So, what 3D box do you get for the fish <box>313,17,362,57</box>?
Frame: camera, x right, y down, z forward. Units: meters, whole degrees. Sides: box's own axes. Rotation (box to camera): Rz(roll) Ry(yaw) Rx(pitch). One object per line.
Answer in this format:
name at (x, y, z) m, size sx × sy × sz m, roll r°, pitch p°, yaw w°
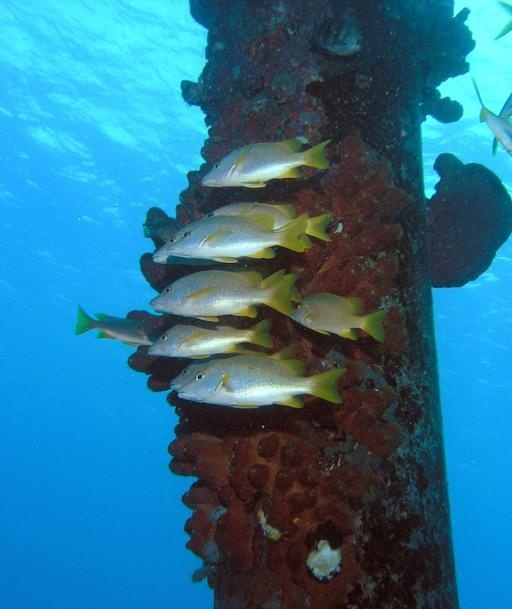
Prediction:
fish at (1.437, -4.820, 11.729) m, size 0.856 × 0.205 × 0.753 m, roll 8°, pitch 88°, yaw 0°
